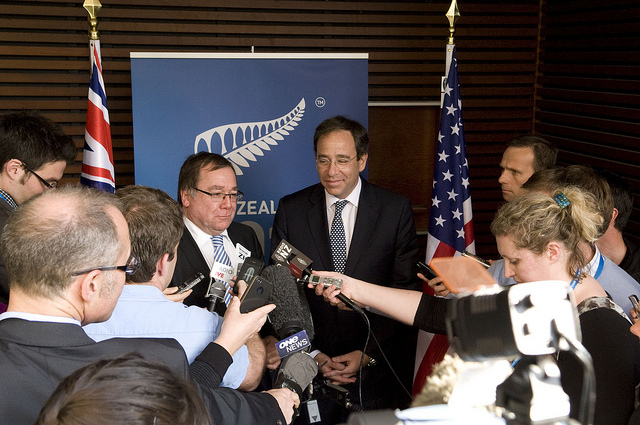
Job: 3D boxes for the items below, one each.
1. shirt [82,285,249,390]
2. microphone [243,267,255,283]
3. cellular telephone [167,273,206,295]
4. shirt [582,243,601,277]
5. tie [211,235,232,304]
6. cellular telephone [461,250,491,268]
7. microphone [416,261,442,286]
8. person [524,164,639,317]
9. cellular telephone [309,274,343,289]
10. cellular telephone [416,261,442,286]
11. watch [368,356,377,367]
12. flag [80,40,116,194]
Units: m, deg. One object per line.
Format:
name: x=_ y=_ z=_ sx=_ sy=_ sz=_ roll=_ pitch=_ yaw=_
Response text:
shirt: x=-0.660 y=0.456 z=2.071 sx=0.513 sy=0.185 sz=0.517 roll=11 pitch=-6 yaw=4
microphone: x=-0.329 y=0.289 z=2.406 sx=0.053 sy=0.051 sz=0.096 roll=16 pitch=16 yaw=-5
cellular telephone: x=-0.639 y=0.345 z=2.498 sx=0.121 sy=0.033 sz=0.124 roll=-36 pitch=-10 yaw=0
shirt: x=1.259 y=0.224 z=2.416 sx=0.053 sy=0.109 sz=0.142 roll=28 pitch=46 yaw=5
tie: x=-0.576 y=0.249 z=3.074 sx=0.113 sy=0.665 sz=0.080 roll=-3 pitch=-23 yaw=-8
cellular telephone: x=0.948 y=0.274 z=3.124 sx=0.157 sy=0.076 sz=0.293 roll=2 pitch=4 yaw=18
microphone: x=0.637 y=0.354 z=3.065 sx=0.136 sy=0.032 sz=0.125 roll=37 pitch=-19 yaw=26
person: x=1.201 y=0.129 z=2.380 sx=0.462 sy=0.683 sz=0.829 roll=0 pitch=-1 yaw=3
cellular telephone: x=0.032 y=0.354 z=2.685 sx=0.146 sy=0.033 sz=0.075 roll=9 pitch=46 yaw=-1
cellular telephone: x=0.641 y=0.350 z=3.055 sx=0.152 sy=0.121 sz=0.039 roll=34 pitch=63 yaw=28
watch: x=0.331 y=0.911 z=3.163 sx=0.046 sy=0.041 sz=0.011 roll=1 pitch=5 yaw=-23
flag: x=-1.676 y=-0.731 z=3.874 sx=0.231 sy=1.150 sz=0.339 roll=-2 pitch=6 yaw=-23
